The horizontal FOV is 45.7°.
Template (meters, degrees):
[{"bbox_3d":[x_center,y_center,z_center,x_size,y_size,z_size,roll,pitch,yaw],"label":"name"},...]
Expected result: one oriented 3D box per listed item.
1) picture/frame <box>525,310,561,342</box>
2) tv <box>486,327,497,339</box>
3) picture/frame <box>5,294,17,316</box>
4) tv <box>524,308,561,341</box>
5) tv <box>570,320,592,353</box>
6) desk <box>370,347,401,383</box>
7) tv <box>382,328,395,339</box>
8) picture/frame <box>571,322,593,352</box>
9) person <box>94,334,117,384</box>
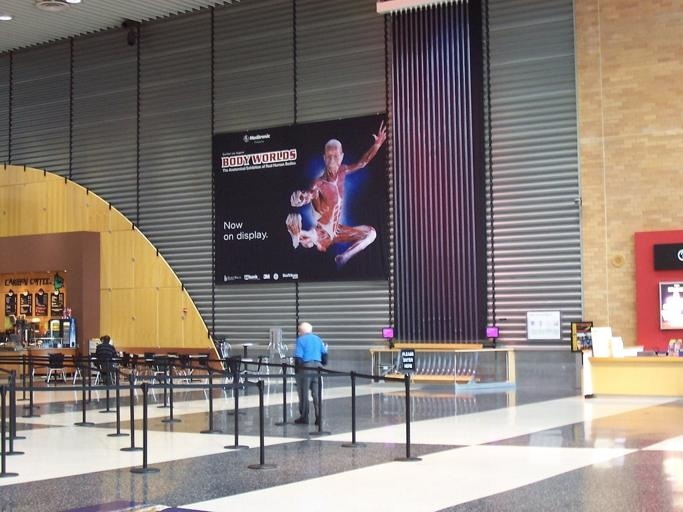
[{"bbox_3d":[4.486,1.507,17.846,0.733,0.651,0.117,-4,-6,17],"label":"picture/frame"},{"bbox_3d":[3.386,1.687,18.087,0.236,0.242,0.122,-1,-7,24],"label":"tv"},{"bbox_3d":[-9.373,1.317,23.089,0.462,0.661,0.054,-5,-6,25],"label":"picture/frame"},{"bbox_3d":[4.479,1.493,17.859,0.698,0.657,0.161,1,-5,25],"label":"tv"},{"bbox_3d":[5.075,1.694,17.065,0.629,0.785,0.077,3,-6,-9],"label":"tv"},{"bbox_3d":[1.072,2.450,18.231,0.732,0.718,0.594,0,-3,3],"label":"desk"},{"bbox_3d":[1.138,1.792,19.051,0.256,0.260,0.243,-1,-4,10],"label":"tv"},{"bbox_3d":[5.079,1.682,17.022,0.568,0.704,0.072,3,-7,-9],"label":"picture/frame"},{"bbox_3d":[-4.797,2.173,16.712,0.417,1.183,0.415,1,12,-2],"label":"person"}]
